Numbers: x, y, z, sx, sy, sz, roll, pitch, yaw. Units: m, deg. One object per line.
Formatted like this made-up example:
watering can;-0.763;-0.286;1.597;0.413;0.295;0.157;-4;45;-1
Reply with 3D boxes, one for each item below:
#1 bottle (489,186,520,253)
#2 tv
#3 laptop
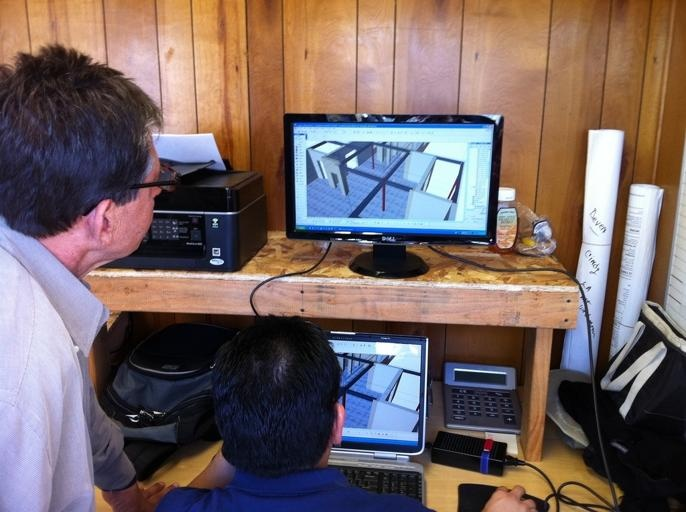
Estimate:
bottle;0.482;-0.109;1.722;0.079;0.211;0.095;9;16;28
tv;0.140;-0.204;1.589;0.663;0.475;0.135;6;20;7
laptop;0.108;0.429;1.580;0.330;0.423;0.202;8;19;8
